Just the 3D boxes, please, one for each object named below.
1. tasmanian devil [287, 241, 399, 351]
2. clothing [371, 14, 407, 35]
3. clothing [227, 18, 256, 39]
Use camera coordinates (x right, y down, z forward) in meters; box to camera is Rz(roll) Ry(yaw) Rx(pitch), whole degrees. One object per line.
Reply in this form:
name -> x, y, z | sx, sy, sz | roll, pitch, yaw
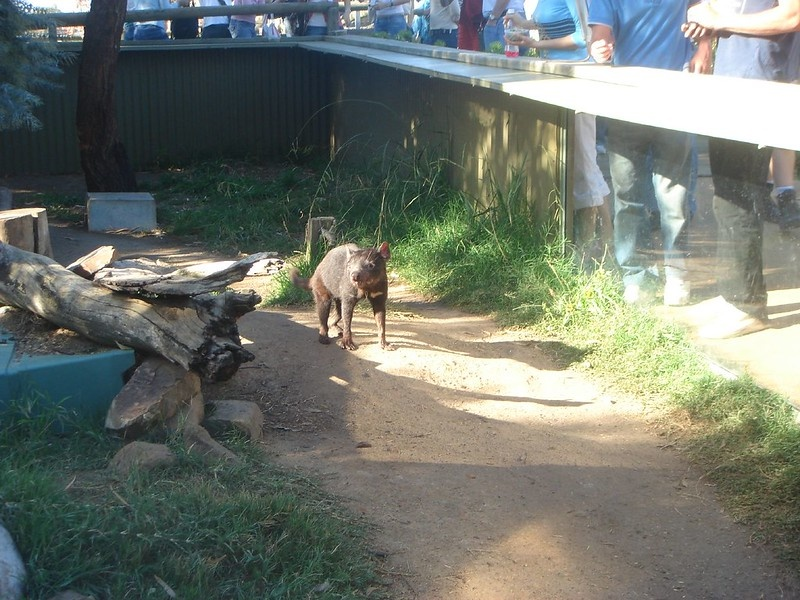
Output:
tasmanian devil -> -0.500, -0.071, 7.151 | 0.630, 0.844, 0.923 | -17, 22, -41
clothing -> -0.176, -4.865, 14.736 | 0.582, 0.343, 0.687 | -2, 17, -2
clothing -> -3.036, -5.193, 15.887 | 0.354, 0.673, 0.441 | 14, 17, 40
